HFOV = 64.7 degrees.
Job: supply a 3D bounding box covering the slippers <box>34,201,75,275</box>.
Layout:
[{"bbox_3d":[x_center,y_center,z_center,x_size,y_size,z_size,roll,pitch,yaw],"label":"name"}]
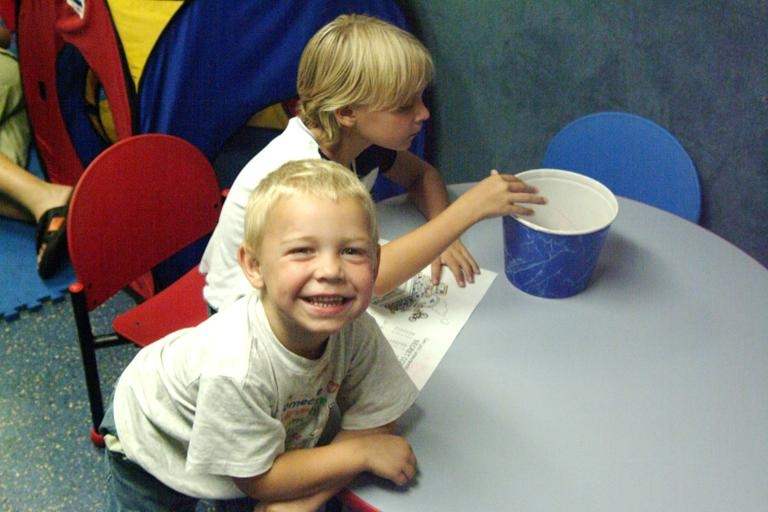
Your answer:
[{"bbox_3d":[-1.170,-0.077,2.159,0.097,0.261,0.090,4,27,1],"label":"slippers"}]
